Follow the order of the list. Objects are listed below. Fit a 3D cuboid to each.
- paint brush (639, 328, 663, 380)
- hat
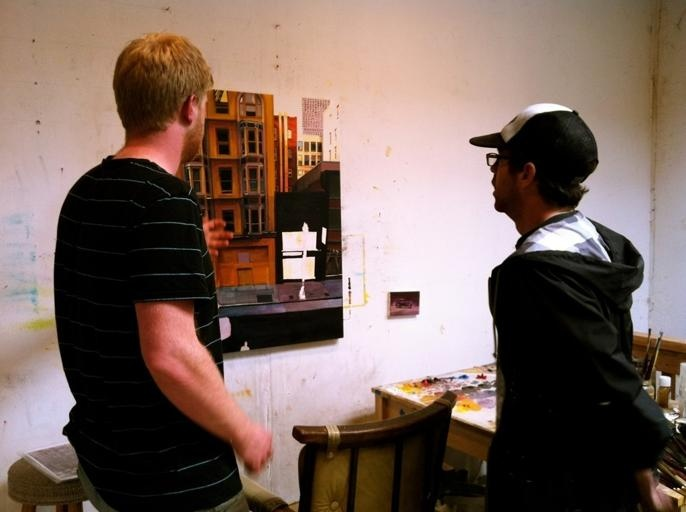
[{"bbox_3d":[1.504,0.488,3.010,0.060,0.265,0.078,18,-4,4],"label":"paint brush"},{"bbox_3d":[0.712,-0.416,2.287,0.368,0.201,0.258,32,30,24],"label":"hat"}]
